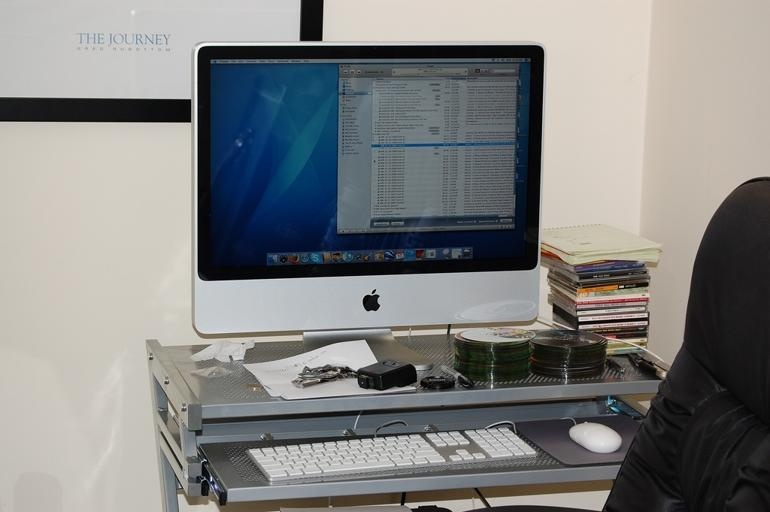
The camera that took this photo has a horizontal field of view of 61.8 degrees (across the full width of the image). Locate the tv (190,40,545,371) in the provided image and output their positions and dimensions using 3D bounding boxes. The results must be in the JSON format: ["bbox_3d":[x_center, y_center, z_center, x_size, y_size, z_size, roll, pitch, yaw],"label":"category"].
[{"bbox_3d":[-0.070,-0.179,1.688,1.126,0.776,0.169,-6,14,-19],"label":"tv"}]

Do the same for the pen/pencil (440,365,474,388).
[{"bbox_3d":[0.181,0.291,1.599,0.028,0.016,0.108,-9,15,-22],"label":"pen/pencil"}]

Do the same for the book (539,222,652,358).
[{"bbox_3d":[0.608,0.088,1.950,0.409,0.375,0.349,-2,11,-7],"label":"book"}]
